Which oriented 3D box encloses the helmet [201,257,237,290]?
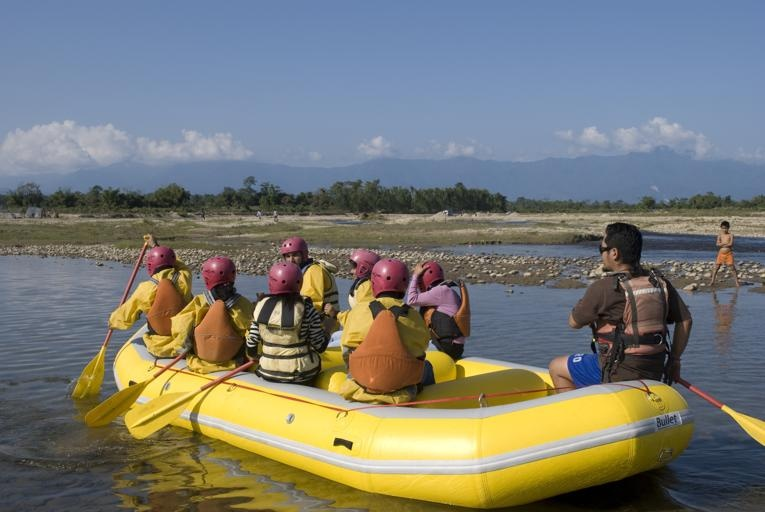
[{"bbox_3d":[-2.769,0.270,11.149,0.613,0.502,0.513,9,10,40],"label":"helmet"}]

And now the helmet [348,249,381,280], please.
[{"bbox_3d":[-0.305,0.143,11.917,0.607,0.434,0.464,1,0,4],"label":"helmet"}]

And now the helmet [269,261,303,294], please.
[{"bbox_3d":[-1.495,0.321,10.133,0.436,0.433,0.514,-2,10,-19],"label":"helmet"}]

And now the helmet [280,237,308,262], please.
[{"bbox_3d":[-1.681,-0.178,12.522,0.438,0.393,0.518,5,26,22],"label":"helmet"}]

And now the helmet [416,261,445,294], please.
[{"bbox_3d":[0.988,0.346,11.350,0.454,0.520,0.562,-5,2,-37],"label":"helmet"}]

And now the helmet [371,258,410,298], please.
[{"bbox_3d":[0.121,0.325,9.422,0.514,0.483,0.576,2,8,-13],"label":"helmet"}]
